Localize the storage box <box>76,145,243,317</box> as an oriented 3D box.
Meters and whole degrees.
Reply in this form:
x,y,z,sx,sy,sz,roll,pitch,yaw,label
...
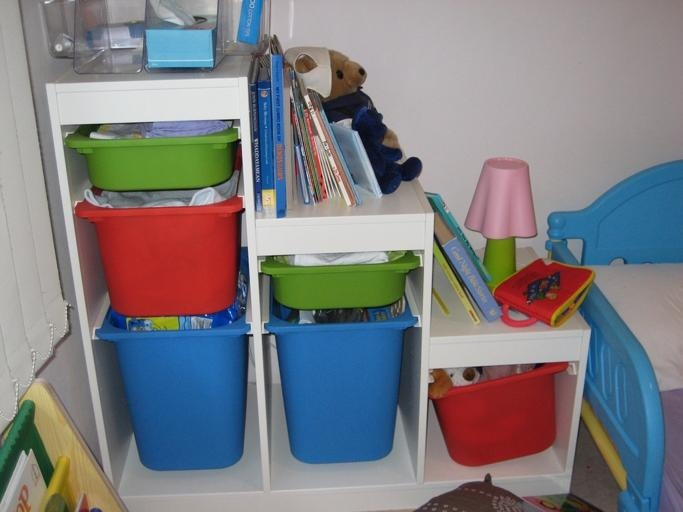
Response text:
x,y,z,sx,sy,sz,roll,pitch,yaw,label
-0.524,-0.045,1.780,0.389,0.295,0.343,1,19,-7,storage box

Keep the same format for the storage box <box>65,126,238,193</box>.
x,y,z,sx,sy,sz,roll,pitch,yaw,label
-0.501,-0.256,1.642,0.279,0.102,0.247,-6,22,-10,storage box

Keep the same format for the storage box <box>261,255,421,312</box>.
x,y,z,sx,sy,sz,roll,pitch,yaw,label
-0.002,0.094,1.816,0.468,0.200,0.091,0,27,-2,storage box

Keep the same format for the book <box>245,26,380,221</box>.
x,y,z,sx,sy,sz,roll,pitch,yaw,label
-0.077,-0.428,1.837,0.374,0.431,0.507,-2,28,-5,book

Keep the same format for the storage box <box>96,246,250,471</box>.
x,y,z,sx,sy,sz,roll,pitch,yaw,label
-0.514,0.334,2.170,0.410,0.644,0.637,-5,23,-15,storage box

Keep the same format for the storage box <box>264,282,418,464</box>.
x,y,z,sx,sy,sz,roll,pitch,yaw,label
0.012,0.362,2.172,0.491,0.589,0.484,-1,24,-3,storage box

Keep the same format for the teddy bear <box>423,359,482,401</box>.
x,y,z,sx,sy,sz,roll,pitch,yaw,label
0.377,0.411,1.973,0.145,0.053,0.104,-2,12,-6,teddy bear
